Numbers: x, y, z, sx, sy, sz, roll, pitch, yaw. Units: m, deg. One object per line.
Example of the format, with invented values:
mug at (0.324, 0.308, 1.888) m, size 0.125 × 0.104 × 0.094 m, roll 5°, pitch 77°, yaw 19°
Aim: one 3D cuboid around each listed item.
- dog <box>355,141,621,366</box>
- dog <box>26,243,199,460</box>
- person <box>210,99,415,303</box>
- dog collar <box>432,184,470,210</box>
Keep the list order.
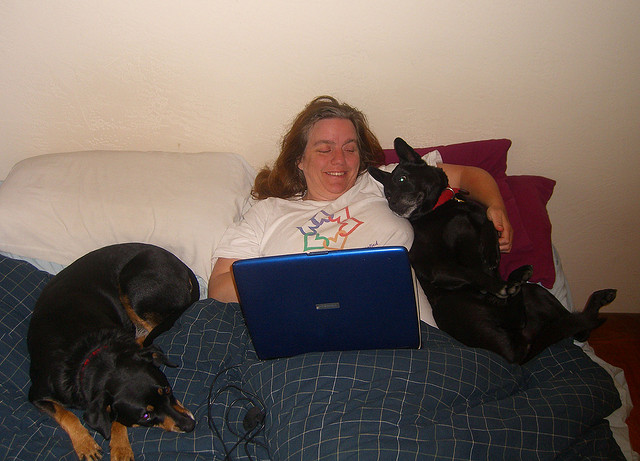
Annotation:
dog at (0.779, 0.116, 2.569) m, size 0.506 × 0.792 × 1.339 m, roll -18°, pitch 29°, yaw -19°
dog at (-0.973, 0.534, 2.420) m, size 0.733 × 0.600 × 0.867 m, roll -6°, pitch 28°, yaw -5°
person at (-0.011, -0.255, 2.612) m, size 1.011 × 1.174 × 0.469 m, roll -3°, pitch -12°, yaw -7°
dog collar at (0.666, -0.186, 2.640) m, size 0.163 × 0.074 × 0.119 m, roll -28°, pitch 18°, yaw 10°
